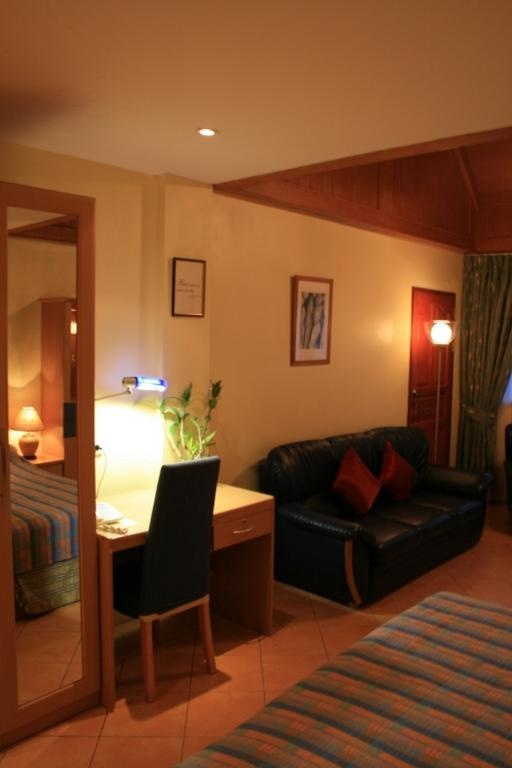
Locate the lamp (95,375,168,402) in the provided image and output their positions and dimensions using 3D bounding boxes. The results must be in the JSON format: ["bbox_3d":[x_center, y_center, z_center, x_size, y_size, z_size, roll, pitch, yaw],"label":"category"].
[{"bbox_3d":[-0.586,0.023,2.887,0.219,0.124,0.367,1,1,39],"label":"lamp"}]

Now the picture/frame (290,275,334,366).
[{"bbox_3d":[0.381,-0.465,4.095,0.039,0.745,0.613,4,6,33],"label":"picture/frame"}]

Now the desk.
[{"bbox_3d":[-0.287,0.886,2.472,0.364,0.745,0.437,-15,-31,-1],"label":"desk"}]

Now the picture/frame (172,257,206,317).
[{"bbox_3d":[-0.363,-0.525,3.103,0.021,0.304,0.238,6,6,38],"label":"picture/frame"}]

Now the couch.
[{"bbox_3d":[0.930,0.830,4.018,1.692,0.971,0.767,-6,3,-41],"label":"couch"}]
